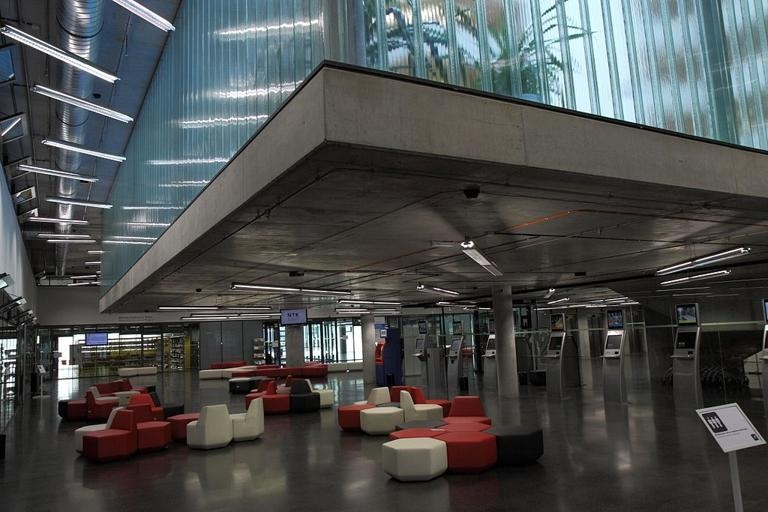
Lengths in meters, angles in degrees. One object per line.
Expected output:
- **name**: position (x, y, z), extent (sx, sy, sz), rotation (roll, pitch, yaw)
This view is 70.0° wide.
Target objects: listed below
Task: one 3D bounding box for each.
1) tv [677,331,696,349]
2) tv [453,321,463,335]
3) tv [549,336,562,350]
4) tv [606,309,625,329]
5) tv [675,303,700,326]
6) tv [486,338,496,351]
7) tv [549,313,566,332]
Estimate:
- **tv**: position (9.205, 2.587, 16.706), extent (0.111, 0.487, 0.602), rotation (8, -15, -41)
- **tv**: position (3.555, 3.483, 26.401), extent (0.662, 0.911, 0.501), rotation (0, -6, 6)
- **tv**: position (6.819, 3.467, 21.742), extent (0.598, 0.544, 0.334), rotation (-13, -15, 43)
- **tv**: position (8.117, 2.225, 19.115), extent (0.599, 0.778, 0.089), rotation (-13, -33, 38)
- **tv**: position (9.310, 1.819, 16.753), extent (0.373, 0.681, 0.689), rotation (6, -8, -9)
- **tv**: position (4.871, 4.052, 25.006), extent (0.557, 0.578, 0.426), rotation (-2, -8, 17)
- **tv**: position (7.149, 2.767, 22.458), extent (0.505, 0.686, 0.274), rotation (0, -8, 43)
